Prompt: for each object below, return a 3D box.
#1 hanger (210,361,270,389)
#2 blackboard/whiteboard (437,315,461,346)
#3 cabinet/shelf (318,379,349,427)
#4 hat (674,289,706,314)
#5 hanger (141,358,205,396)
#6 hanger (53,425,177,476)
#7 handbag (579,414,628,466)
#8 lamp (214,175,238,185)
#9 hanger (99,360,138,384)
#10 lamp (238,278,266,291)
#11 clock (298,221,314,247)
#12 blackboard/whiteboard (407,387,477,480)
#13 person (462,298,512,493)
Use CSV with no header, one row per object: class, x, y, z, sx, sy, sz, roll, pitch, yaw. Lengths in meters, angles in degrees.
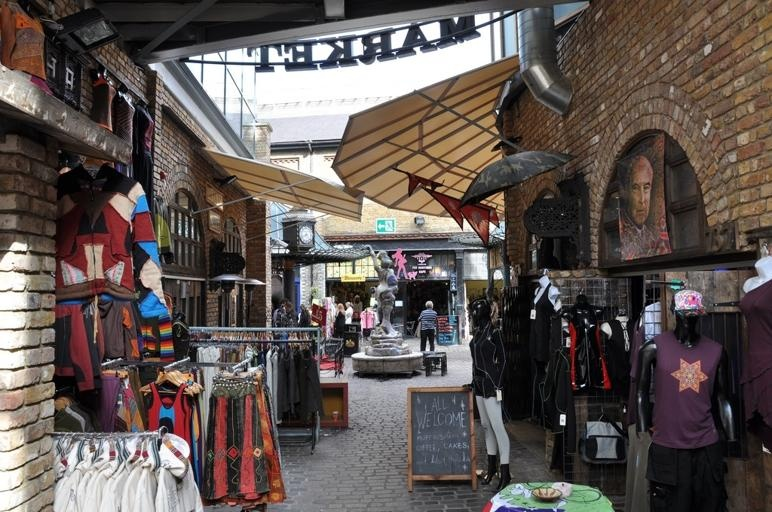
hanger,-1.732,1.383,8.495,0.548,0.277,0.565,1,-3,-3
blackboard/whiteboard,2.356,2.750,27.176,0.799,1.092,0.879,-2,-6,3
cabinet/shelf,-0.861,2.439,12.281,0.542,0.726,0.704,-1,0,4
hat,2.877,0.436,6.833,0.249,0.247,0.227,-1,-8,13
hanger,-2.255,1.316,7.687,0.607,0.329,0.383,2,-8,-32
hanger,-2.376,1.709,6.459,0.752,0.316,0.553,1,-6,2
handbag,2.615,2.180,8.611,0.516,0.593,0.323,-3,-27,16
lamp,-3.306,-1.590,15.096,0.558,0.217,0.270,-5,-7,25
hanger,-2.880,1.226,7.966,0.283,0.144,0.394,0,-6,3
lamp,-3.157,0.632,16.932,0.485,0.182,0.503,-1,-2,33
clock,-2.429,-0.687,22.076,0.071,0.716,0.692,-6,-7,29
blackboard/whiteboard,0.722,2.243,9.157,1.096,1.521,0.074,-1,-12,-1
person,1.319,1.688,9.141,0.429,2.342,0.494,-2,-6,5
